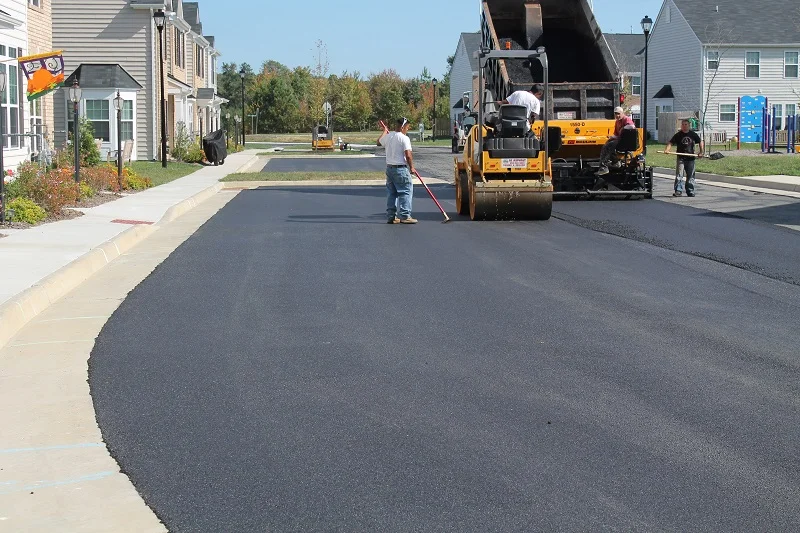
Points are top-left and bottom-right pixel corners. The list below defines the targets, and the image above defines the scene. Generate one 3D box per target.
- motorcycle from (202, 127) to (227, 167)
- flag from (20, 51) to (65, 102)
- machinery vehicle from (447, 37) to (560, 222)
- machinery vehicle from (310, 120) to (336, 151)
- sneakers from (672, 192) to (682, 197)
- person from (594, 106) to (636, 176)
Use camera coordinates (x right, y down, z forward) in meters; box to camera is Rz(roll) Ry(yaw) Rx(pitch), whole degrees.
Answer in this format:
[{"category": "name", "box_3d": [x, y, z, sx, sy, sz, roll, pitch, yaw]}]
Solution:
[{"category": "motorcycle", "box_3d": [-10.195, -6.578, 36.639, 1.260, 1.708, 1.409, -8, 12, -38]}, {"category": "flag", "box_3d": [-11.086, -5.956, 20.575, 1.063, 1.407, 2.198, -6, 13, -30]}, {"category": "machinery vehicle", "box_3d": [2.575, -3.374, 16.469, 2.258, 4.210, 3.297, 1, 10, 9]}, {"category": "machinery vehicle", "box_3d": [-6.846, -11.304, 58.767, 1.128, 2.350, 4.281, -1, 7, 0]}, {"category": "sneakers", "box_3d": [8.461, -2.182, 20.277, 0.120, 0.156, 0.317, 0, 0, 14]}, {"category": "person", "box_3d": [5.942, -3.428, 18.259, 1.003, 1.887, 0.785, 8, 12, 42]}]
